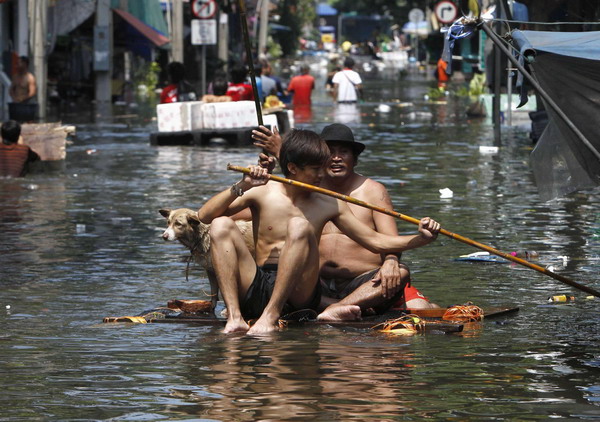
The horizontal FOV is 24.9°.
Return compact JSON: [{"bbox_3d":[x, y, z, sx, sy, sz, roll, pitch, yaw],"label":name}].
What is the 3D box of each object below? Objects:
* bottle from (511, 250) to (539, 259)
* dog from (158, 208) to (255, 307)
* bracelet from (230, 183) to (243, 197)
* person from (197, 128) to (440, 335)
[{"bbox_3d":[2.244,0.434,13.496,0.155,0.049,0.157,-2,0,0],"label":"bottle"},{"bbox_3d":[-0.618,0.409,11.951,0.422,0.750,1.391,-20,-15,42],"label":"dog"},{"bbox_3d":[-0.529,-0.168,11.145,0.111,0.098,0.047,1,7,18],"label":"bracelet"},{"bbox_3d":[-0.003,0.268,11.373,1.535,1.360,0.696,-4,16,-17],"label":"person"}]
